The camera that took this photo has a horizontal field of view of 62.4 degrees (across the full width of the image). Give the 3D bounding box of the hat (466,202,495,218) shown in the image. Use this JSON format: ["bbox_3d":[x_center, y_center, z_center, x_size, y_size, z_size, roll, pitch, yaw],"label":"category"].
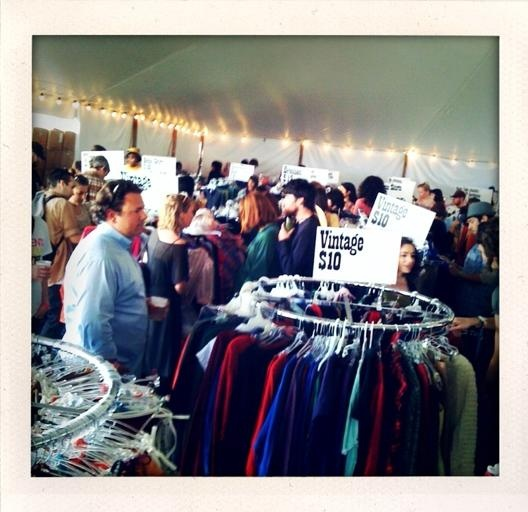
[{"bbox_3d":[0.988,-0.216,2.006,0.089,0.056,0.069,7,15,24],"label":"hat"}]
